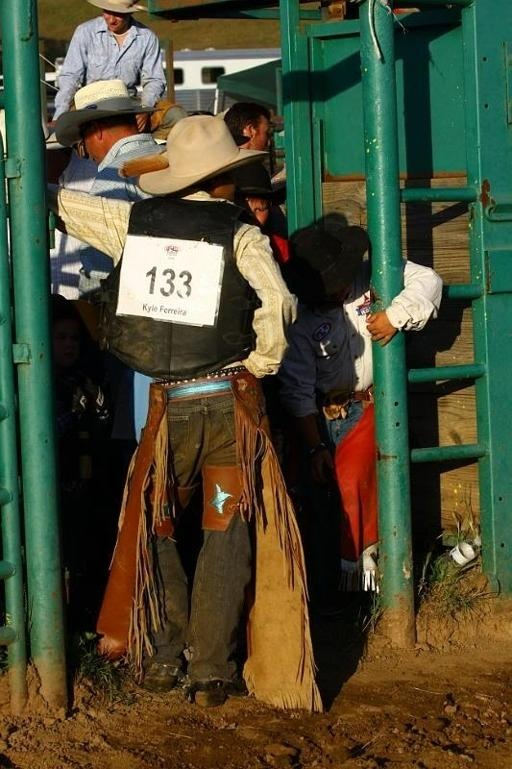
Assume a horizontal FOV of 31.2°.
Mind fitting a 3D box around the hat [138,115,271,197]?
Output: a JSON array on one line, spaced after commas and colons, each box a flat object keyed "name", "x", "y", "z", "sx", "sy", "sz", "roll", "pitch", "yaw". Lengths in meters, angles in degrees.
[{"name": "hat", "x": -0.201, "y": -0.767, "z": 3.070, "sx": 0.439, "sy": 0.264, "sz": 0.210, "roll": 3, "pitch": 9, "yaw": 7}]

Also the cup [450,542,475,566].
[{"name": "cup", "x": 0.848, "y": 0.693, "z": 3.813, "sx": 0.110, "sy": 0.095, "sz": 0.102, "roll": -6, "pitch": -31, "yaw": -4}]

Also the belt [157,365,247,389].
[{"name": "belt", "x": -0.198, "y": -0.032, "z": 3.089, "sx": 0.313, "sy": 0.087, "sz": 0.136, "roll": 2, "pitch": 9, "yaw": 0}]

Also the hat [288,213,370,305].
[{"name": "hat", "x": 0.263, "y": -0.524, "z": 3.690, "sx": 0.324, "sy": 0.347, "sz": 0.106, "roll": -36, "pitch": -31, "yaw": 25}]

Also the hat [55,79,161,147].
[{"name": "hat", "x": -0.745, "y": -1.323, "z": 4.406, "sx": 0.519, "sy": 0.174, "sz": 0.443, "roll": -17, "pitch": 1, "yaw": 16}]

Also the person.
[{"name": "person", "x": -0.190, "y": 0.078, "z": 3.100, "sx": 0.916, "sy": 1.952, "sz": 0.437, "roll": 3, "pitch": 9, "yaw": 4}]

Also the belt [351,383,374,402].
[{"name": "belt", "x": 0.446, "y": 0.038, "z": 3.886, "sx": 0.086, "sy": 0.036, "sz": 0.060, "roll": 6, "pitch": -12, "yaw": -34}]
